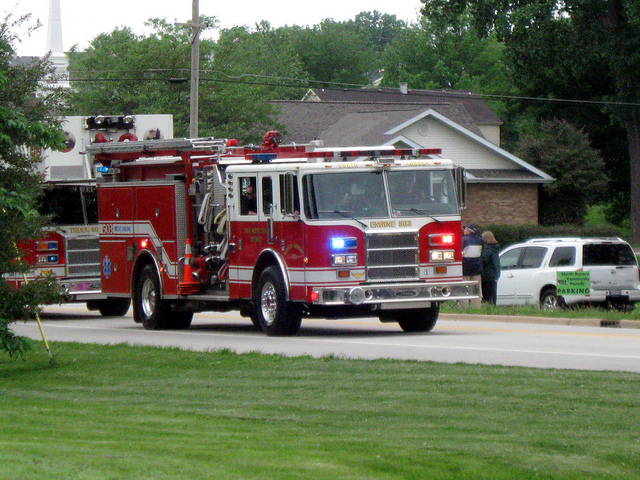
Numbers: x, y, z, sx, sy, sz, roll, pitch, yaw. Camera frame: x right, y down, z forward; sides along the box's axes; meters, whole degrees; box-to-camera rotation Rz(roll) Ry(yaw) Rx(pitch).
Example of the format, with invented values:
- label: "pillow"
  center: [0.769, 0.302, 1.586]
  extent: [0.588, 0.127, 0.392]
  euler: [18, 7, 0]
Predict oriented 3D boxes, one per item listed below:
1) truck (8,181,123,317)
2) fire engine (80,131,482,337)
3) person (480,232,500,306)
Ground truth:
- label: "truck"
  center: [-5.510, 0.008, 30.043]
  extent: [2.098, 1.931, 3.373]
  euler: [1, -3, -30]
- label: "fire engine"
  center: [-1.007, -0.152, 28.765]
  extent: [4.550, 3.897, 8.930]
  euler: [-2, 0, -34]
- label: "person"
  center: [3.845, 0.696, 30.388]
  extent: [0.395, 1.680, 1.286]
  euler: [0, 6, 8]
